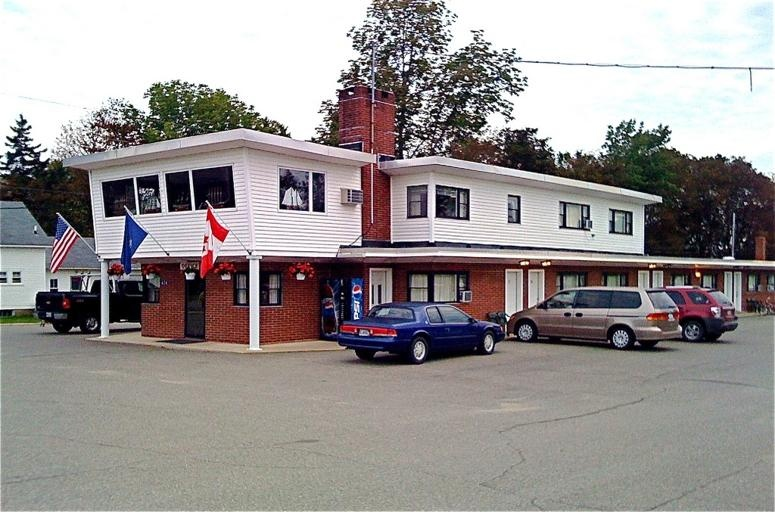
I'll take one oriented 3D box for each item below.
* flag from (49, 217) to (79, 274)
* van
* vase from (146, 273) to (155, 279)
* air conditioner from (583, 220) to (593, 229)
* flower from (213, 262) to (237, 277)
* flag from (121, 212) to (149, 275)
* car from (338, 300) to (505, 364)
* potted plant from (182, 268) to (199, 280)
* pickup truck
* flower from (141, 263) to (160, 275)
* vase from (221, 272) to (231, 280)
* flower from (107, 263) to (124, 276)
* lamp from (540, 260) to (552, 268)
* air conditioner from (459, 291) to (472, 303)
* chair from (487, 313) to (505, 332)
[{"bbox_3d":[-13.264,-0.584,28.254,0.839,2.452,1.855,2,-5,-26],"label":"flag"},{"bbox_3d":[7.831,2.252,26.323,5.464,1.903,2.499,2,-1,36],"label":"van"},{"bbox_3d":[-9.921,0.873,29.057,0.368,0.231,0.373,0,-4,-1],"label":"vase"},{"bbox_3d":[10.577,-1.649,36.289,0.627,0.613,0.448,1,0,27],"label":"air conditioner"},{"bbox_3d":[-6.148,0.498,26.044,0.598,0.433,0.602,2,-4,-10],"label":"flower"},{"bbox_3d":[-9.847,-0.664,26.635,0.676,2.496,1.352,3,-5,-40],"label":"flag"},{"bbox_3d":[1.208,2.400,22.342,4.208,1.287,2.147,-1,0,-42],"label":"car"},{"bbox_3d":[-7.789,0.731,27.428,0.476,0.408,0.475,2,-4,-22],"label":"potted plant"},{"bbox_3d":[-13.623,2.408,33.027,2.820,2.011,5.488,-1,0,36],"label":"pickup truck"},{"bbox_3d":[-9.859,0.571,28.765,0.536,0.552,0.232,2,-1,-3],"label":"flower"},{"bbox_3d":[-6.114,0.789,26.206,0.259,0.214,0.344,-1,-9,-6],"label":"vase"},{"bbox_3d":[-11.234,0.581,28.683,0.672,0.534,0.682,-1,-1,4],"label":"flower"},{"bbox_3d":[7.636,0.387,33.043,0.496,0.236,2.146,-1,-5,14],"label":"lamp"},{"bbox_3d":[3.388,1.793,29.574,0.407,0.668,0.768,-3,-5,37],"label":"air conditioner"},{"bbox_3d":[4.790,2.781,29.962,0.605,1.062,0.372,8,-7,-40],"label":"chair"}]
